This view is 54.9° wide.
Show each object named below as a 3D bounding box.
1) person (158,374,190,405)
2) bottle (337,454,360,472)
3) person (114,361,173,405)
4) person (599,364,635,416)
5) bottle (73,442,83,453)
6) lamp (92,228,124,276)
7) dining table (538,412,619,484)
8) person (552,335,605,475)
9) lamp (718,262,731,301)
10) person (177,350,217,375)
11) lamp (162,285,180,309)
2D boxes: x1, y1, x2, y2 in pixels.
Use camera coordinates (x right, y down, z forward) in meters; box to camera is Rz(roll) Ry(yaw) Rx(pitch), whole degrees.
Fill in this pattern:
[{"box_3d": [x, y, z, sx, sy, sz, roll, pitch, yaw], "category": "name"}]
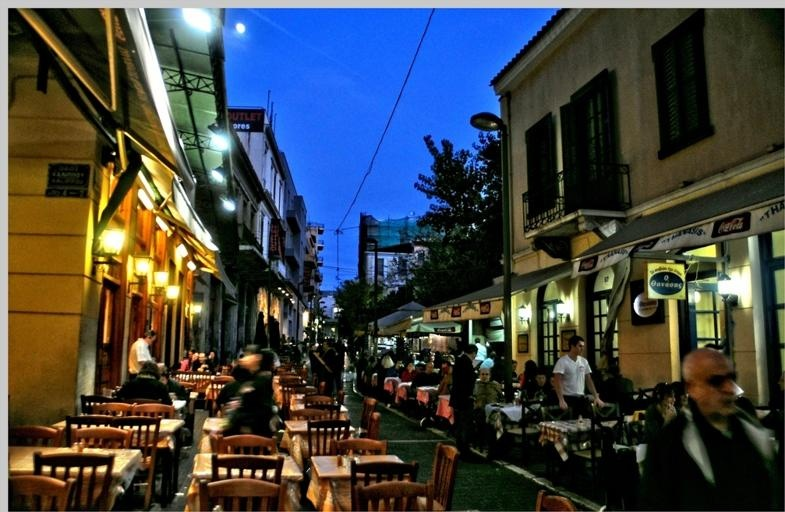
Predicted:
[{"box_3d": [-4.424, 2.710, 15.550, 0.605, 0.747, 0.794, 4, -22, -13], "category": "person"}, {"box_3d": [-0.641, 3.036, 11.074, 0.328, 0.224, 0.641, 0, -15, -3], "category": "bottle"}, {"box_3d": [-4.476, 2.296, 13.736, 0.951, 0.803, 0.975, 5, -15, -22], "category": "person"}, {"box_3d": [4.530, 2.746, 15.266, 0.594, 1.783, 0.610, 2, -21, 18], "category": "person"}, {"box_3d": [-4.457, 2.734, 10.727, 0.109, 0.201, 0.108, 2, -15, 1], "category": "bottle"}, {"box_3d": [-5.602, -0.057, 14.901, 0.492, 0.871, 1.035, 4, -15, -18], "category": "lamp"}, {"box_3d": [3.254, 3.416, 13.439, 1.021, 1.104, 1.857, 1, -14, -6], "category": "dining table"}, {"box_3d": [3.596, 2.792, 14.756, 0.933, 2.400, 0.552, -1, 9, -2], "category": "person"}, {"box_3d": [6.683, 0.509, 15.211, 0.261, 0.796, 0.426, -6, -14, 23], "category": "lamp"}, {"box_3d": [-6.221, 3.482, 24.418, 0.903, 0.463, 1.078, 5, -1, -7], "category": "person"}, {"box_3d": [-6.326, 1.116, 21.719, 0.562, 0.624, 0.584, 2, -11, -13], "category": "lamp"}]
